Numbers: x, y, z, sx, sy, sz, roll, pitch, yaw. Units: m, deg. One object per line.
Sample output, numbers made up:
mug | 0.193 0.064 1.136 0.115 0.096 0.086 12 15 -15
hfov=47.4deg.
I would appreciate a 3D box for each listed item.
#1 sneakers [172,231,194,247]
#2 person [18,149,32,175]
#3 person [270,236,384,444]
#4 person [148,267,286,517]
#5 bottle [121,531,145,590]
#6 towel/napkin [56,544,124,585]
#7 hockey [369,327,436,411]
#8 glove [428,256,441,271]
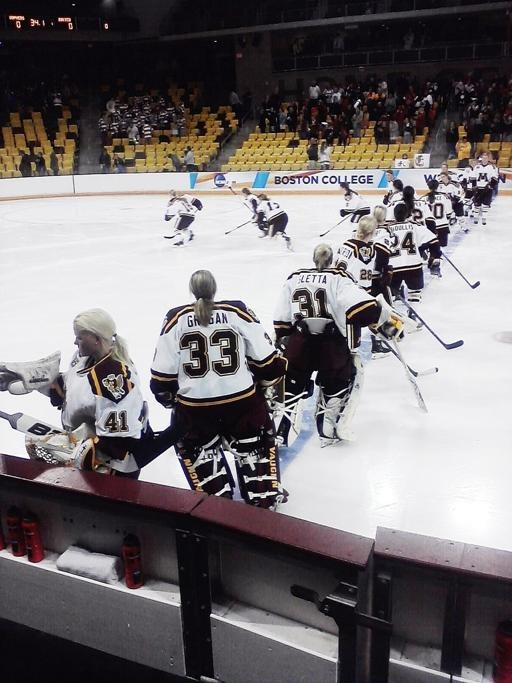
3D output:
sneakers | -1.471 -2.104 11.771 0.200 0.266 0.590 5 28 7
person | -8.130 -6.188 20.485 0.424 0.878 1.421 -8 18 -20
person | 0.407 0.072 3.455 0.617 1.259 0.267 2 17 12
person | -0.163 0.264 2.720 0.627 1.148 0.354 -5 15 -1
bottle | -0.403 0.721 1.905 0.059 0.171 0.079 -4 17 -10
towel/napkin | -0.553 0.746 1.960 0.144 0.045 0.111 8 12 20
hockey | 1.166 0.251 4.700 0.171 0.604 0.202 -22 -7 -46
glove | 2.454 -1.033 8.058 0.206 0.224 0.200 -2 29 8
